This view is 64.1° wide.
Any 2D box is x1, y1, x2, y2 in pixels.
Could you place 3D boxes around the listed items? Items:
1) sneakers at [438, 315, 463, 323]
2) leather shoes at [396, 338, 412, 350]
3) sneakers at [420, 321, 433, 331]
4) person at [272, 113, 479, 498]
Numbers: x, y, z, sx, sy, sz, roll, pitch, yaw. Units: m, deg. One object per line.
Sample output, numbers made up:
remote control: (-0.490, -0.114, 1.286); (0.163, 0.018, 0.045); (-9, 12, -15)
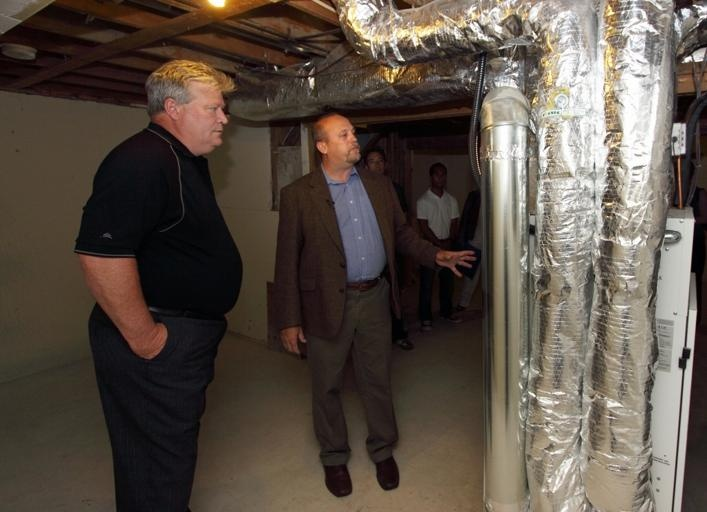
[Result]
sneakers: (0.920, 0.586, 5.358); (0.145, 0.059, 0.080); (-4, -1, 30)
leather shoes: (0.425, 0.725, 4.717); (0.060, 0.060, 0.140); (-10, 8, -43)
sneakers: (0.658, 0.621, 5.101); (0.063, 0.080, 0.110); (-4, 6, 5)
person: (0.013, 0.243, 3.078); (0.868, 2.005, 0.482); (-2, 10, -8)
